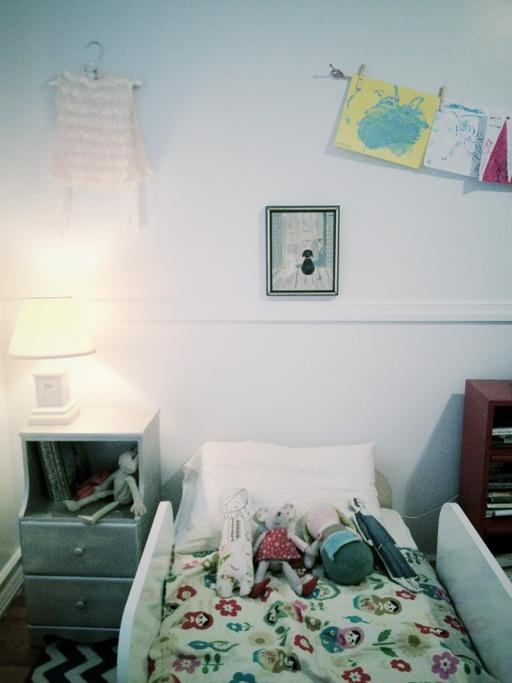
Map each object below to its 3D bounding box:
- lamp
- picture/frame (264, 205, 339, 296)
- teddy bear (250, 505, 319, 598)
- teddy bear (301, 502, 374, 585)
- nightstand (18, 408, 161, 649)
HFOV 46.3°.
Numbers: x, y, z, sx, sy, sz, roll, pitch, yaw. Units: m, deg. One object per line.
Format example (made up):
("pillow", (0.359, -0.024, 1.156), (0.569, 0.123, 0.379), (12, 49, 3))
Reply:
("lamp", (-0.728, 0.065, 2.118), (0.276, 0.440, 0.252), (-4, 18, -22))
("picture/frame", (0.174, -0.353, 2.235), (0.375, 0.389, 0.021), (0, 12, 0))
("teddy bear", (0.066, 0.644, 1.876), (0.209, 0.136, 0.340), (-1, 27, -3))
("teddy bear", (0.249, 0.621, 1.886), (0.165, 0.119, 0.306), (-17, 30, -14))
("nightstand", (-0.617, 0.697, 2.190), (0.446, 0.652, 0.413), (0, -3, -14))
